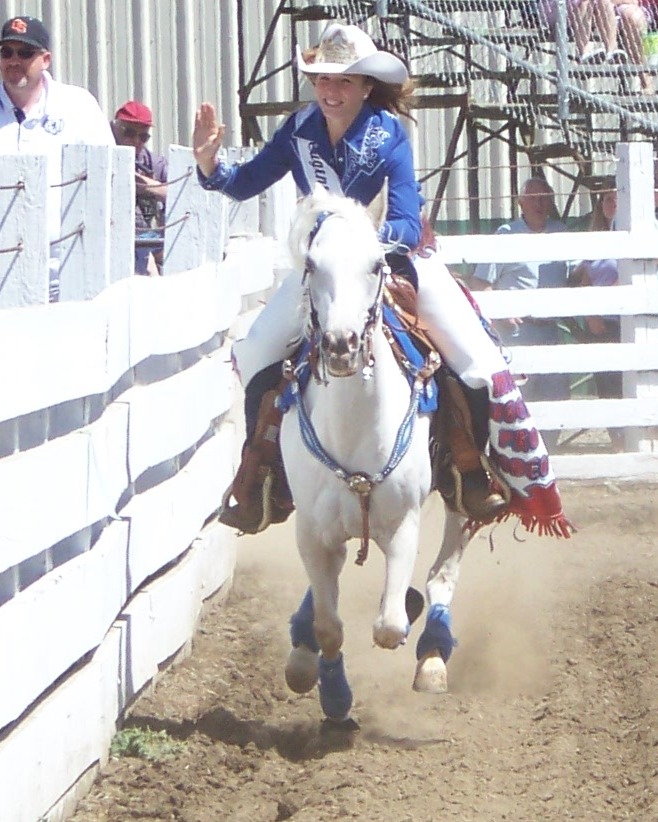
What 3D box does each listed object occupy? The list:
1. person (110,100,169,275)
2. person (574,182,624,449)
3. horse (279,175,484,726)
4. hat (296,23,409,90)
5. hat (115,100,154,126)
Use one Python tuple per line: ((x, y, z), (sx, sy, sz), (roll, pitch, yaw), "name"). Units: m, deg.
((-1.244, -1.413, 8.062), (0.367, 1.094, 2.011), (-4, 12, -9), "person")
((2.110, -0.724, 9.103), (0.352, 2.204, 0.290), (-5, -4, 16), "person")
((0.133, 0.307, 4.406), (0.655, 2.119, 1.592), (-1, 11, 6), "horse")
((0.124, -1.239, 4.369), (0.246, 0.125, 0.291), (6, -1, 32), "hat")
((-1.366, -1.980, 8.419), (0.191, 0.139, 0.260), (5, 22, -22), "hat")
